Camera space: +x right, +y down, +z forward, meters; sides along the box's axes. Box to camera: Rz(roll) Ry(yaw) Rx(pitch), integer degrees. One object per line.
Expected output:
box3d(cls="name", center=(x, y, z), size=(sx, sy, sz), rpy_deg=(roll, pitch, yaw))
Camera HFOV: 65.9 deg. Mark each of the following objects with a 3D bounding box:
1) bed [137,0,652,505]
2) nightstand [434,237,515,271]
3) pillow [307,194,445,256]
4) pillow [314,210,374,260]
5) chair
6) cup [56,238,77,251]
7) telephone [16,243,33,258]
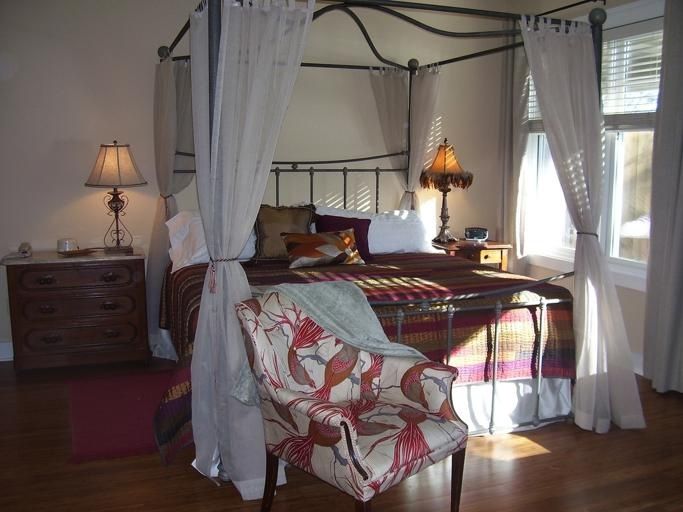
box3d(cls="bed", center=(0.288, -0.075, 3.321), size=(3.074, 3.167, 0.847), rpy_deg=(-4, 11, -18))
box3d(cls="nightstand", center=(1.230, -0.035, 4.695), size=(0.412, 0.419, 0.381), rpy_deg=(-6, 12, -28))
box3d(cls="pillow", center=(0.440, -0.235, 4.421), size=(0.267, 0.346, 0.724), rpy_deg=(17, -12, -38))
box3d(cls="pillow", center=(-0.079, -0.233, 4.244), size=(0.505, 0.143, 0.482), rpy_deg=(4, -14, -29))
box3d(cls="chair", center=(0.100, 0.417, 2.662), size=(0.968, 1.190, 1.033), rpy_deg=(-8, 10, -44))
box3d(cls="cup", center=(-2.122, -0.093, 4.080), size=(0.102, 0.081, 0.104), rpy_deg=(0, 10, 0))
box3d(cls="telephone", center=(-2.390, -0.047, 3.987), size=(0.091, 0.084, 0.184), rpy_deg=(-9, 15, -33))
